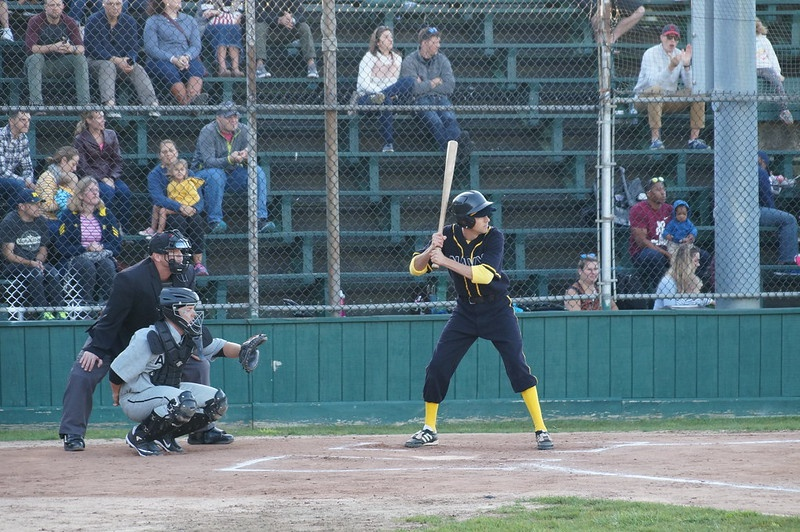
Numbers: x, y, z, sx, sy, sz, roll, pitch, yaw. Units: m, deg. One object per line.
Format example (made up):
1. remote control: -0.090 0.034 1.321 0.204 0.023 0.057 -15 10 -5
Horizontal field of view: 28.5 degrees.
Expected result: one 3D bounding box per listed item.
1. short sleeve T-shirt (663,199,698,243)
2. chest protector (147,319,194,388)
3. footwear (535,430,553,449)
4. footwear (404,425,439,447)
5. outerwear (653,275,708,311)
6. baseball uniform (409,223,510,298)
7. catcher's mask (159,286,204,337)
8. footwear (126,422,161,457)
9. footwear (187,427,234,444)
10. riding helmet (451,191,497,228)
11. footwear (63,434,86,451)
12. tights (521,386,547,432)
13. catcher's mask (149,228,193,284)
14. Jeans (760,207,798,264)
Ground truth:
1. short sleeve T-shirt: 3.478 -0.550 19.653 0.375 0.549 0.328 -2 5 4
2. chest protector: -2.493 0.952 17.125 0.367 0.804 0.634 3 -2 3
3. footwear: 1.567 1.856 17.272 0.191 0.209 0.267 -2 -2 6
4. footwear: 0.227 1.872 17.437 0.363 0.169 0.171 3 -6 -25
5. outerwear: 3.400 0.332 19.294 0.624 0.648 0.386 -6 -5 8
6. baseball uniform: 0.650 0.023 17.467 0.914 0.996 0.728 2 27 24
7. catcher's mask: -2.371 0.437 17.111 0.331 0.605 0.643 1 -2 0
8. footwear: -2.701 1.871 17.082 0.511 0.240 0.200 29 31 26
9. footwear: -2.126 1.862 17.553 0.425 0.175 0.207 -1 -2 -3
10. riding helmet: 0.771 -0.644 17.316 0.470 0.397 0.360 -3 9 13
11. footwear: -3.590 1.905 17.347 0.225 0.170 0.213 -1 -2 -11
12. tights: 1.458 1.540 17.478 0.245 0.481 0.545 -1 -2 4
13. catcher's mask: -2.486 -0.128 17.414 0.350 0.631 0.644 1 -2 0
14. Jeans: 4.747 -0.407 19.901 0.452 0.715 0.231 -2 -2 12
